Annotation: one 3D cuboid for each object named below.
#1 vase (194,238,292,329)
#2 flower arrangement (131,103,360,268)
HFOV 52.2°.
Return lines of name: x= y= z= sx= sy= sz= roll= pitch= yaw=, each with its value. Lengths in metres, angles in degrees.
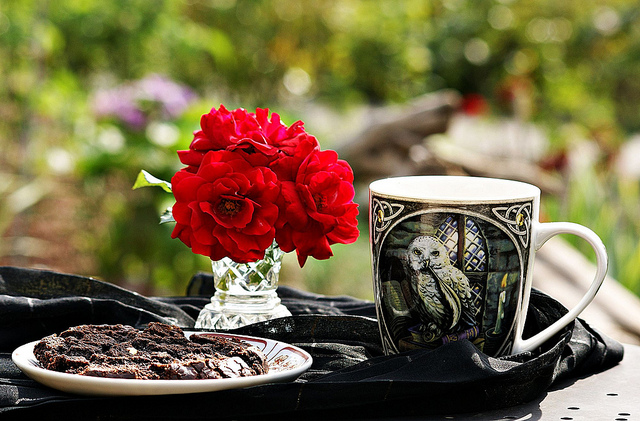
vase: x=-0.158 y=0.146 z=1.386 sx=0.197 sy=0.219 sz=0.204 roll=6 pitch=6 yaw=13
flower arrangement: x=-0.102 y=-0.037 z=1.250 sx=0.353 sy=0.307 sz=0.173 roll=3 pitch=13 yaw=-12
